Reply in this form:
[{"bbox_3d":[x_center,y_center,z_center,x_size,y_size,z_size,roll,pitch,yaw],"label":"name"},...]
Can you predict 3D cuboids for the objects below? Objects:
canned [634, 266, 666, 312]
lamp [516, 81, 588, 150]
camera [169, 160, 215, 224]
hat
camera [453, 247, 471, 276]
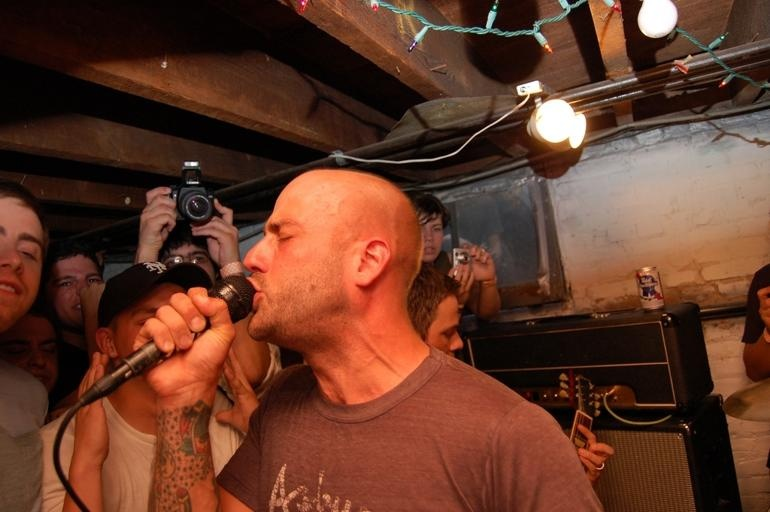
[{"bbox_3d":[1.415,0.173,2.767,0.107,0.224,0.118,-7,-8,24],"label":"canned"},{"bbox_3d":[0.879,-0.722,2.686,0.469,0.299,0.238,2,-9,-38],"label":"lamp"},{"bbox_3d":[-1.078,-0.338,2.783,0.332,0.293,0.295,-2,13,-14],"label":"camera"},{"bbox_3d":[-1.108,0.137,2.401,0.505,0.156,0.328,-28,-13,19],"label":"hat"},{"bbox_3d":[0.487,0.028,3.369,0.113,0.145,0.035,4,-17,-19],"label":"camera"}]
